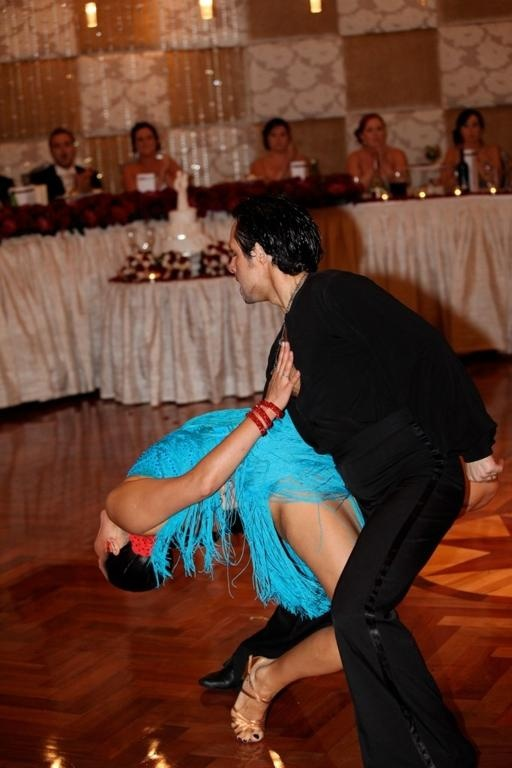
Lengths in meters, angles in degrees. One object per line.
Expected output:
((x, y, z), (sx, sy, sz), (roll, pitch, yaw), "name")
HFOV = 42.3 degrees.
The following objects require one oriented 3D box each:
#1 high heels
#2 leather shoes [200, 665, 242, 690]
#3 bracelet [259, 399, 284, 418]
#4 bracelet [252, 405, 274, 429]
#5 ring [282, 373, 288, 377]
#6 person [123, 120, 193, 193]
((-0.001, 0.619, 1.311), (0.064, 0.053, 0.193), (8, 18, 10), "high heels")
((-0.075, 0.651, 1.478), (0.130, 0.050, 0.042), (4, -2, -10), "leather shoes")
((0.027, 0.039, 1.094), (0.012, 0.031, 0.029), (-52, 17, -6), "bracelet")
((0.009, 0.057, 1.082), (0.013, 0.037, 0.033), (-38, 32, -12), "bracelet")
((0.050, -0.015, 1.109), (0.007, 0.007, 0.002), (-3, 28, -2), "ring")
((-0.902, -1.870, 5.722), (0.613, 0.754, 0.438), (-9, 18, 2), "person")
